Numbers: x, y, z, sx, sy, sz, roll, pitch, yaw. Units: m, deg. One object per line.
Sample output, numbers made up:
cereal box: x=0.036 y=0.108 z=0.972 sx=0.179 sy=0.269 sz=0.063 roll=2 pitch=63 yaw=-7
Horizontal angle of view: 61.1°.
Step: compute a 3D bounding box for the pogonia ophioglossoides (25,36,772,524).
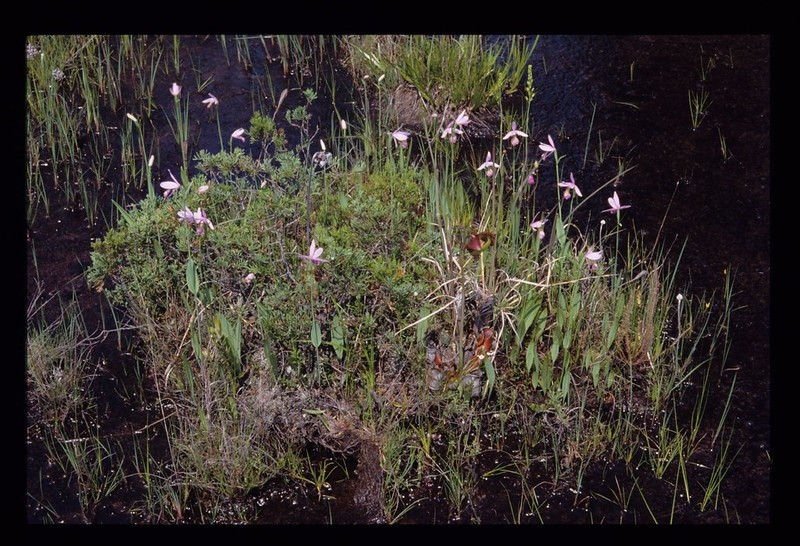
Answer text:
pogonia ophioglossoides: x=0.052 y=-0.042 z=2.726 sx=2.819 sy=1.810 sz=0.788 roll=0 pitch=11 yaw=0
